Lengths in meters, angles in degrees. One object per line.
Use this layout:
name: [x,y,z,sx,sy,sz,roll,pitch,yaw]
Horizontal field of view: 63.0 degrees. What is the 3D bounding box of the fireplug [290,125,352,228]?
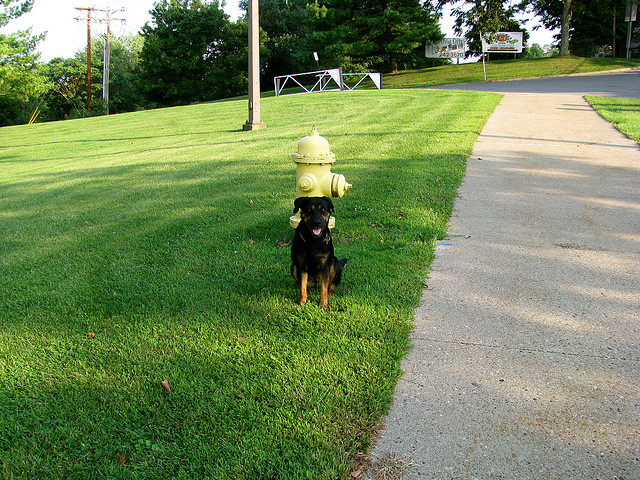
fireplug: [-0.003,-0.920,6.230,0.685,0.872,0.488,0,12,4]
